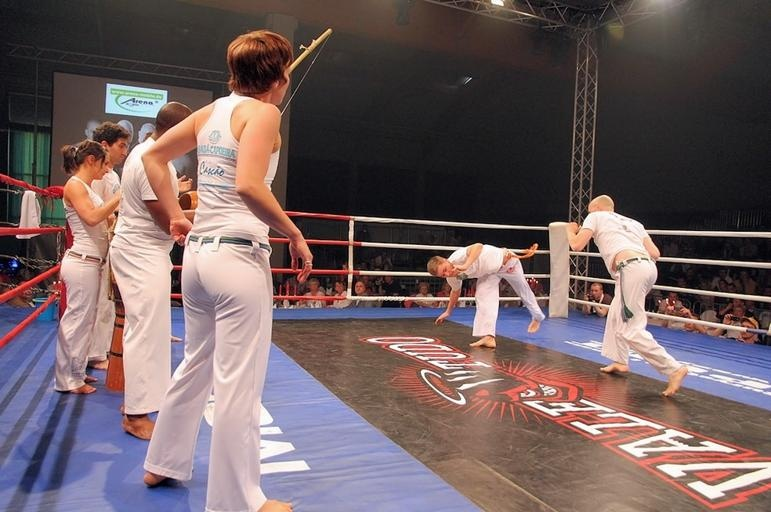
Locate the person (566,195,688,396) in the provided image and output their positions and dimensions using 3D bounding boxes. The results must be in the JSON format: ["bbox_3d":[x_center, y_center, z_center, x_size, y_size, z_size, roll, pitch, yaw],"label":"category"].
[{"bbox_3d":[2.332,0.316,4.962,1.192,1.705,1.014,9,13,34],"label":"person"}]

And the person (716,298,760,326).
[{"bbox_3d":[5.496,0.868,8.037,0.626,0.276,0.867,1,0,31],"label":"person"}]

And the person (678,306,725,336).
[{"bbox_3d":[4.700,0.969,7.667,0.413,0.751,0.449,-1,-15,15],"label":"person"}]

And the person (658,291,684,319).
[{"bbox_3d":[4.583,0.806,8.296,0.533,0.272,0.712,-8,11,28],"label":"person"}]

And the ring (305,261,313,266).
[{"bbox_3d":[-0.444,0.040,2.943,0.033,0.017,0.030,-16,-22,38],"label":"ring"}]

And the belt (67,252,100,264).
[{"bbox_3d":[-2.395,0.012,4.096,0.235,0.102,0.069,-3,11,-24],"label":"belt"}]

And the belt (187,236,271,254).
[{"bbox_3d":[-0.879,-0.071,2.825,0.450,0.088,0.124,2,10,-2],"label":"belt"}]

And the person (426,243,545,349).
[{"bbox_3d":[1.300,0.428,6.119,1.603,1.173,0.776,-2,-7,-20],"label":"person"}]
